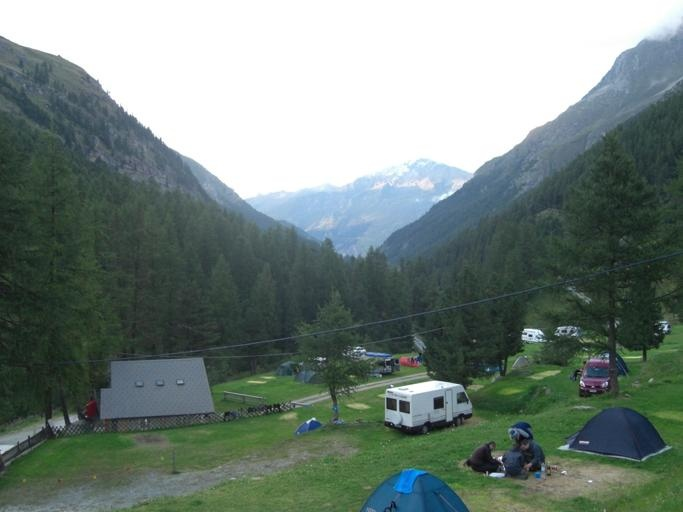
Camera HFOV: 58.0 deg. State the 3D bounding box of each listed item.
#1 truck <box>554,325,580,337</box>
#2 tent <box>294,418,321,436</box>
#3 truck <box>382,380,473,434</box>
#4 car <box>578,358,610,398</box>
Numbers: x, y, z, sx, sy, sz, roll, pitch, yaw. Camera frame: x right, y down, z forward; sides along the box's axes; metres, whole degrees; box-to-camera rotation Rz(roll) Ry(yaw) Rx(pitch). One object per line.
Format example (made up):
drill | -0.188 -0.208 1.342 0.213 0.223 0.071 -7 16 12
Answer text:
truck | 19.902 6.893 54.408 2.142 1.251 1.353 -6 -2 14
tent | -3.122 15.676 56.832 1.486 0.797 1.536 -5 -6 40
truck | 7.572 13.141 54.732 6.317 3.476 3.474 -2 -1 -32
car | 22.259 10.451 53.879 1.878 2.016 3.445 -4 -6 28
